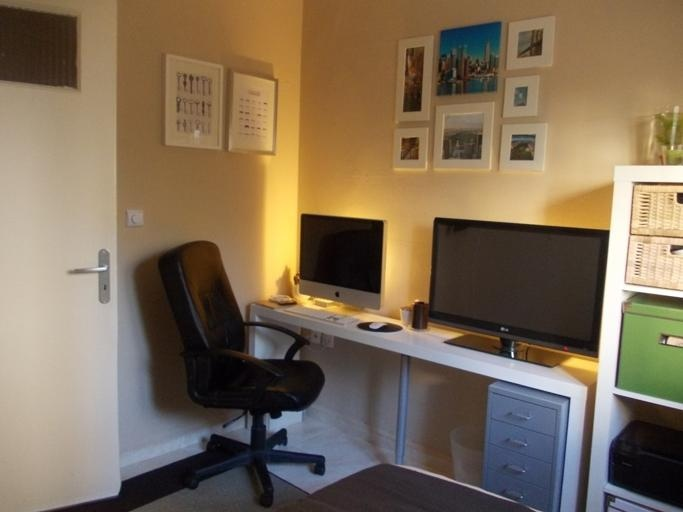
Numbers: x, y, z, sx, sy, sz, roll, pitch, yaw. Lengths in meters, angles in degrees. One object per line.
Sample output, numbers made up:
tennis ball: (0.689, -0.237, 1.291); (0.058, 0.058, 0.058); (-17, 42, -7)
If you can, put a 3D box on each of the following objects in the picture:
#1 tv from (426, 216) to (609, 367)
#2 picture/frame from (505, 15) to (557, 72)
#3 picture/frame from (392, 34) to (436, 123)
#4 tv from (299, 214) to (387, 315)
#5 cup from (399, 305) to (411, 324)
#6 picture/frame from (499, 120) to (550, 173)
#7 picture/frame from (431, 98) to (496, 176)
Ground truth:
tv: (0.944, 0.203, 3.068); (0.984, 0.758, 0.319); (8, 8, 40)
picture/frame: (1.069, -1.191, 3.032); (0.022, 0.349, 0.328); (-7, 9, -43)
picture/frame: (0.477, -1.131, 3.481); (0.029, 0.505, 0.272); (-2, 9, -38)
tv: (-0.020, 0.051, 3.719); (0.627, 0.585, 0.057); (6, 14, 25)
cup: (0.413, 0.374, 3.504); (0.089, 0.096, 0.087); (2, 1, 0)
picture/frame: (1.047, -0.623, 3.080); (0.284, 0.304, 0.029); (5, 3, 41)
picture/frame: (0.754, -0.726, 3.294); (0.035, 0.486, 0.456); (-4, 6, -44)
